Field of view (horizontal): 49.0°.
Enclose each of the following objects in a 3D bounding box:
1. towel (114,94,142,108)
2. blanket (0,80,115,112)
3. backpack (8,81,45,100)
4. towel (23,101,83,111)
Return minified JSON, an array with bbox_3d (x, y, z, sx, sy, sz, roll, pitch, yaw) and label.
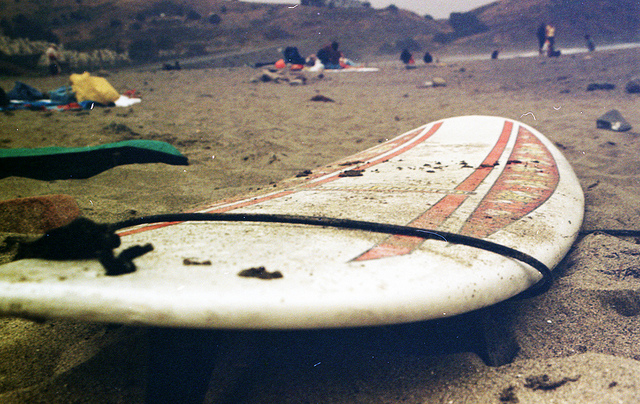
[{"bbox_3d":[-2.354,-1.266,8.678,0.222,0.105,0.410,5,23,15],"label":"towel"},{"bbox_3d":[-3.177,-1.234,8.385,0.831,0.144,0.401,-14,43,-12],"label":"blanket"},{"bbox_3d":[-3.463,-1.309,8.287,0.264,0.094,0.182,23,22,16],"label":"backpack"},{"bbox_3d":[-3.078,-1.115,8.333,0.792,0.100,0.184,-1,41,-23],"label":"towel"}]
